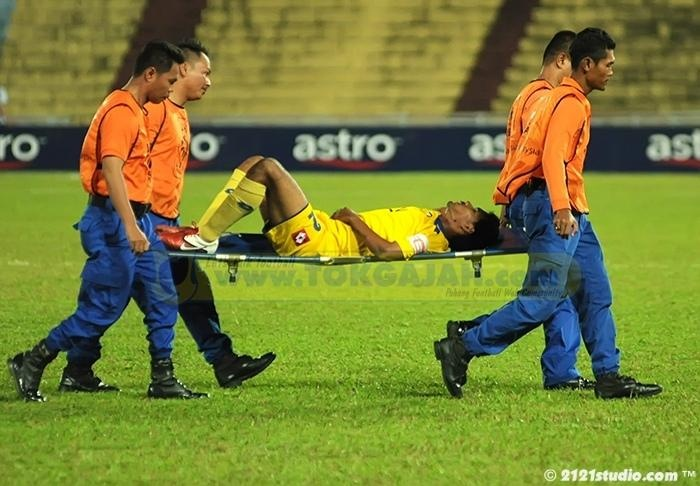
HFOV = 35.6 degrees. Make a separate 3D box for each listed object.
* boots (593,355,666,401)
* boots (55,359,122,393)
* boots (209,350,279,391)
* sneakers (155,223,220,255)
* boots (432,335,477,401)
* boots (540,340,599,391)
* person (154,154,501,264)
[{"bbox_3d":[2.315,1.240,9.307,0.709,0.268,0.218,-2,-4,1],"label":"boots"},{"bbox_3d":[-2.176,1.180,9.421,0.658,0.246,0.210,1,-3,-6],"label":"boots"},{"bbox_3d":[-0.989,1.098,9.709,0.641,0.314,0.229,-23,10,-6],"label":"boots"},{"bbox_3d":[-1.411,-0.037,9.473,0.451,0.164,0.233,17,15,-23],"label":"sneakers"},{"bbox_3d":[0.916,1.058,9.447,0.311,0.590,0.220,-10,2,19],"label":"boots"},{"bbox_3d":[1.885,1.137,9.680,0.608,0.490,0.235,-4,5,-12],"label":"boots"},{"bbox_3d":[-0.148,-0.173,9.912,3.236,0.830,1.073,1,-10,-4],"label":"person"}]
